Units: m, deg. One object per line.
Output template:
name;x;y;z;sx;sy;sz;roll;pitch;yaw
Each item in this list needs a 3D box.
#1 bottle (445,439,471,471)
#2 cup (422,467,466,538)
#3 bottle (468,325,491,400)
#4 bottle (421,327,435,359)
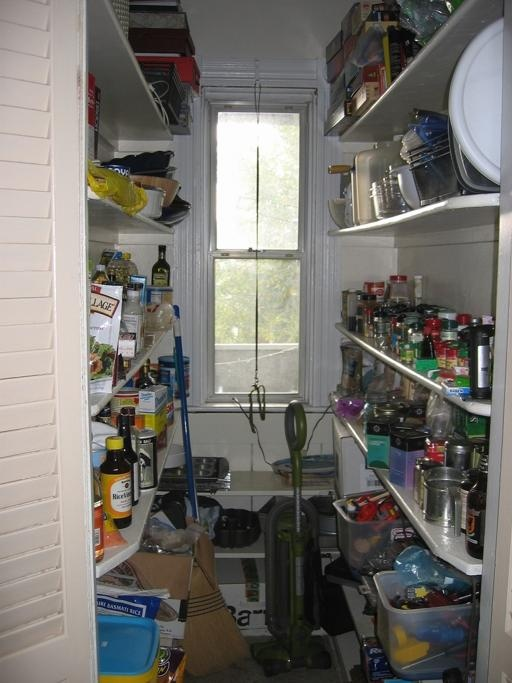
bottle;0.496;0.269;1.367;0.061;0.096;0.062;0;6;0
cup;0.409;0.369;1.281;0.081;0.094;0.135;0;10;1
bottle;0.438;0.044;1.097;0.038;0.138;0.037;-1;3;0
bottle;0.437;0.006;1.435;0.036;0.078;0.047;1;4;35
